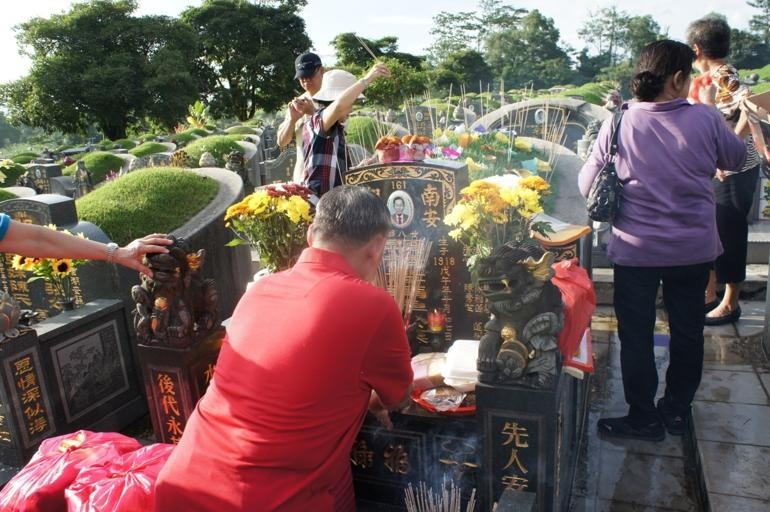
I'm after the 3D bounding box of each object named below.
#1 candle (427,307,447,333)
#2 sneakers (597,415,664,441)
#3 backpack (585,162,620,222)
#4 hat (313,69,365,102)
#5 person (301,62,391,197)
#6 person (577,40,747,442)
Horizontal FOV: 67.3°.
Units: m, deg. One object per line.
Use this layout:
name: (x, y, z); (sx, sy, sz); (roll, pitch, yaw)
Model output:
candle: (0.397, 0.499, 4.468); (0.157, 0.183, 0.160); (1, 1, 2)
sneakers: (1.581, 1.118, 3.724); (0.353, 0.156, 0.158); (6, 6, 20)
backpack: (1.333, -0.392, 3.547); (0.137, 0.354, 0.199); (-6, 14, -39)
hat: (-0.305, -1.303, 4.268); (0.276, 0.125, 0.255); (2, 24, 16)
person: (-0.329, -0.910, 4.206); (0.720, 0.941, 0.552); (0, 10, 11)
person: (1.677, -0.051, 3.591); (0.838, 2.463, 0.300); (1, 10, 15)
